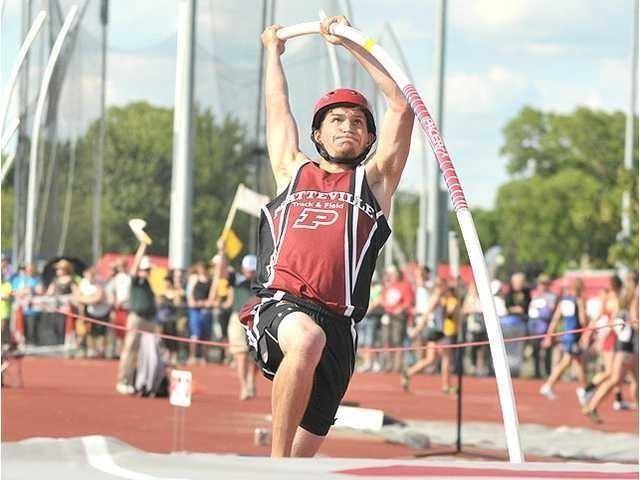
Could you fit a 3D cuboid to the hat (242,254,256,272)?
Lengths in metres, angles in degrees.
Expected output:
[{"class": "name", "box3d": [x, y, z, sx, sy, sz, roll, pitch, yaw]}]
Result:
[{"class": "hat", "box3d": [-0.892, 0.294, 17.344, 0.230, 0.193, 0.370, 2, -5, -11]}]

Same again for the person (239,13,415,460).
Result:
[{"class": "person", "box3d": [0.023, -0.054, 11.496, 1.315, 3.813, 0.899, 3, -4, -4]}]

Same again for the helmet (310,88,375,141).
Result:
[{"class": "helmet", "box3d": [0.275, -1.068, 11.519, 0.476, 0.456, 0.529, -13, -1, -11]}]

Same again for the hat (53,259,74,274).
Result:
[{"class": "hat", "box3d": [-2.508, 0.276, 13.226, 0.134, 0.170, 0.156, 9, 19, -32]}]

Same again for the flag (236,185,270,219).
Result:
[{"class": "flag", "box3d": [-0.928, -0.486, 18.182, 0.542, 0.407, 0.047, 27, -1, -44]}]

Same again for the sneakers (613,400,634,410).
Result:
[{"class": "sneakers", "box3d": [3.194, 1.759, 14.287, 0.152, 0.106, 0.082, -6, -1, 3]}]
